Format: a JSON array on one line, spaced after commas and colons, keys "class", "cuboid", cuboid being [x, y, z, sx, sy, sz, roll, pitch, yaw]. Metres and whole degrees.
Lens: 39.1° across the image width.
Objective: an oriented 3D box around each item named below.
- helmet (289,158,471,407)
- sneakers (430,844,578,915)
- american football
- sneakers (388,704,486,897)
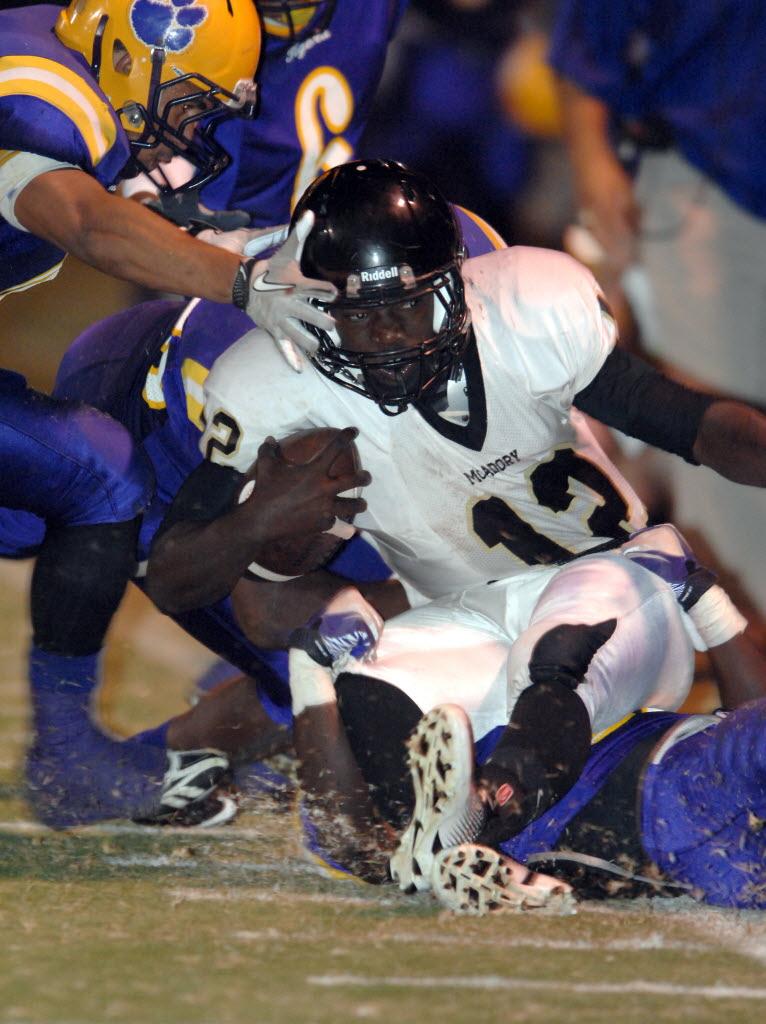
[{"class": "helmet", "cuboid": [0.030, -0.367, 1.798, 0.344, 0.331, 0.382, -8, 49, 6]}, {"class": "sneakers", "cuboid": [0.143, 0.469, 1.366, 0.176, 0.115, 0.046, 12, 89, -7]}, {"class": "american football", "cuboid": [-0.142, 0.011, 1.845, 0.230, 0.358, 0.155, -15, 56, -18]}, {"class": "sneakers", "cuboid": [0.051, 0.382, 1.414, 0.109, 0.250, 0.118, 6, 22, 2]}]
